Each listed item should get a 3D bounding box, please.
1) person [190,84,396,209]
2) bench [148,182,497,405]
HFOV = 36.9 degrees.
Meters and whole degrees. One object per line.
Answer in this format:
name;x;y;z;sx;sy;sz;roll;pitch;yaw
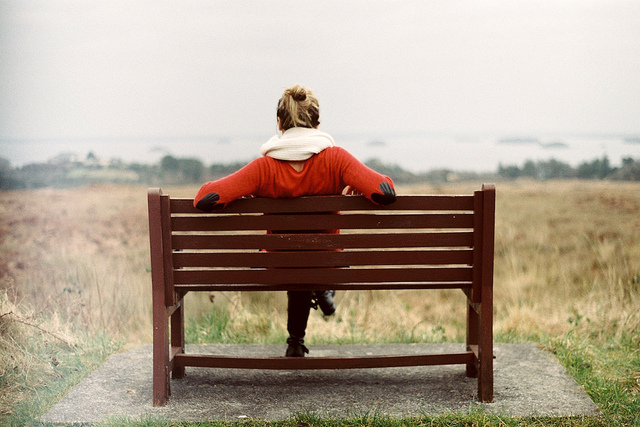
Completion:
person;-0.259;-0.630;9.420;1.872;1.209;0.657;-4;4;1
bench;0.052;0.782;9.772;3.247;2.226;1.383;0;3;-1
